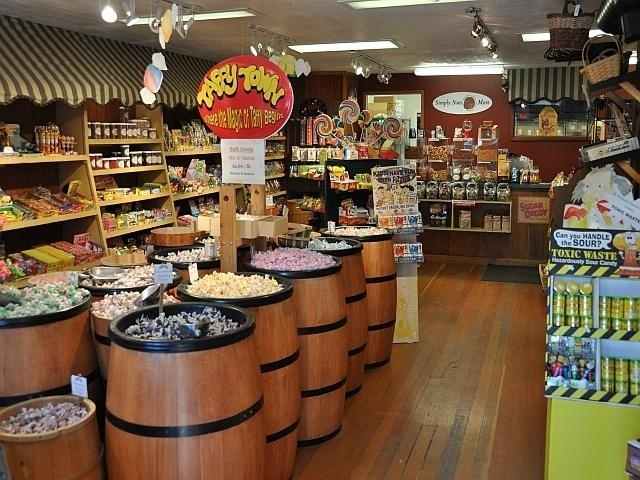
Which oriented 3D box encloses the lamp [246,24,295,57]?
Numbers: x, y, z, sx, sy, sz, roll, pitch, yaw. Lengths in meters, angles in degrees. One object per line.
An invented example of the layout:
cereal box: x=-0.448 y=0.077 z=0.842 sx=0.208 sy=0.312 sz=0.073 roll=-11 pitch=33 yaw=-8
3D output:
lamp: x=-0.662 y=-2.573 z=6.106 sx=0.297 sy=0.414 sz=1.106 roll=7 pitch=16 yaw=23

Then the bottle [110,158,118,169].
bottle: x=-2.640 y=-0.984 z=6.023 sx=0.102 sy=0.117 sz=0.106 roll=0 pitch=3 yaw=3

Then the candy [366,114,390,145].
candy: x=0.794 y=-1.552 z=6.665 sx=0.325 sy=0.458 sz=0.443 roll=0 pitch=2 yaw=11

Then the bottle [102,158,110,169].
bottle: x=-2.692 y=-0.971 z=5.940 sx=0.103 sy=0.168 sz=0.105 roll=0 pitch=-1 yaw=0

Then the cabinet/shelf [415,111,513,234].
cabinet/shelf: x=2.699 y=-1.183 z=8.728 sx=2.324 sy=2.505 sz=1.121 roll=2 pitch=8 yaw=21

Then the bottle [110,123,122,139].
bottle: x=-2.649 y=-1.430 z=6.122 sx=0.173 sy=0.200 sz=0.176 roll=2 pitch=0 yaw=-18

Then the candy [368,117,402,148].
candy: x=0.911 y=-1.517 z=6.503 sx=0.369 sy=0.530 sz=0.216 roll=4 pitch=16 yaw=19

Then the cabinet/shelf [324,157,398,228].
cabinet/shelf: x=0.614 y=-0.645 z=6.201 sx=0.799 sy=0.823 sz=0.266 roll=0 pitch=-1 yaw=11

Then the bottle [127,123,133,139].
bottle: x=-2.524 y=-1.456 z=6.262 sx=0.034 sy=0.143 sz=0.149 roll=4 pitch=5 yaw=12

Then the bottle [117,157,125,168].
bottle: x=-2.581 y=-1.005 z=6.112 sx=0.092 sy=0.154 sz=0.093 roll=0 pitch=5 yaw=0

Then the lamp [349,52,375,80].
lamp: x=0.659 y=-2.828 z=7.711 sx=0.454 sy=0.270 sz=0.615 roll=3 pitch=-26 yaw=0
